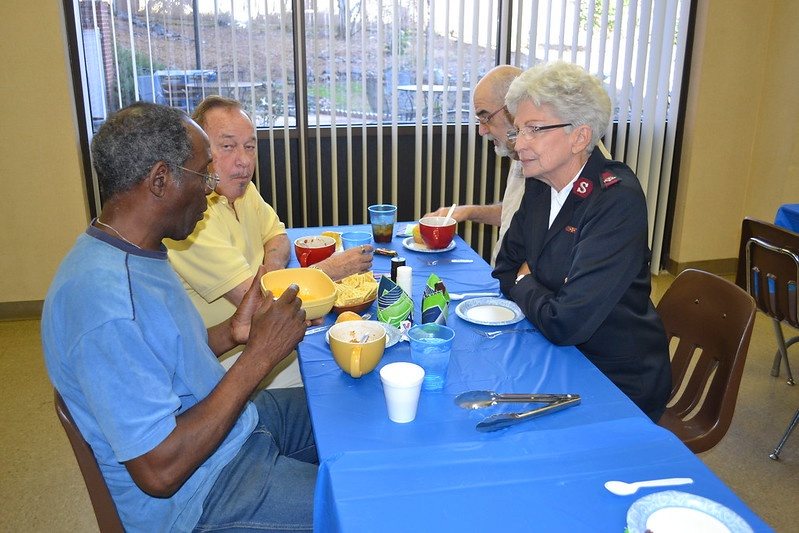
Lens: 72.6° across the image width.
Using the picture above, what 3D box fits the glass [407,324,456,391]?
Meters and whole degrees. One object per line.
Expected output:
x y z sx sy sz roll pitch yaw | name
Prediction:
0.101 0.262 1.712 0.167 0.192 0.178 -1 14 0 | glass

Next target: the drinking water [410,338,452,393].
0.108 0.315 1.735 0.149 0.174 0.161 -2 -15 -2 | drinking water

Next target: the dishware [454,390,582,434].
0.363 0.405 1.612 0.288 0.061 0.142 -7 20 -18 | dishware

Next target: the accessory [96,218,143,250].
-0.795 -0.094 1.528 0.095 0.025 0.078 30 36 -5 | accessory

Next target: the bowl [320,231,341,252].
-0.343 -0.145 2.764 0.090 0.073 0.106 -1 31 1 | bowl

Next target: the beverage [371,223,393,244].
-0.084 -0.167 2.759 0.087 0.076 0.098 0 9 3 | beverage

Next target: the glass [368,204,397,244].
-0.083 -0.210 2.811 0.159 0.178 0.160 -5 6 -30 | glass

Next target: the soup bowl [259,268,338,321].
-0.366 0.110 1.975 0.235 0.118 0.321 -8 23 -18 | soup bowl

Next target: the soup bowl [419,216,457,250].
0.195 -0.171 2.673 0.161 0.134 0.167 -2 17 1 | soup bowl

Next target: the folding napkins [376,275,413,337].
-0.023 0.125 2.034 0.126 0.216 0.136 16 40 15 | folding napkins

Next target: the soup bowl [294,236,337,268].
-0.383 -0.085 2.529 0.132 0.126 0.173 12 26 29 | soup bowl

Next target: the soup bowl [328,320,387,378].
-0.140 0.294 1.726 0.168 0.130 0.258 3 6 2 | soup bowl

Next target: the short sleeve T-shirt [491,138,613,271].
0.623 -0.246 2.195 0.139 0.564 0.530 13 16 -10 | short sleeve T-shirt

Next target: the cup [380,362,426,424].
0.012 0.368 1.594 0.134 0.145 0.138 -2 20 1 | cup

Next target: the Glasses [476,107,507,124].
0.448 -0.756 2.718 0.070 0.087 0.210 -11 21 -27 | Glasses

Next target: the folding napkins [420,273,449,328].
0.138 0.126 2.061 0.104 0.196 0.117 -3 -1 1 | folding napkins

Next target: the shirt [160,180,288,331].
-0.666 -0.027 2.039 0.275 0.505 0.497 2 24 15 | shirt

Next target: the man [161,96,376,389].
-0.636 -0.117 2.494 0.782 1.169 0.683 6 24 10 | man

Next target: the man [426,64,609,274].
0.582 -0.311 2.858 0.715 1.367 0.726 0 3 -10 | man
